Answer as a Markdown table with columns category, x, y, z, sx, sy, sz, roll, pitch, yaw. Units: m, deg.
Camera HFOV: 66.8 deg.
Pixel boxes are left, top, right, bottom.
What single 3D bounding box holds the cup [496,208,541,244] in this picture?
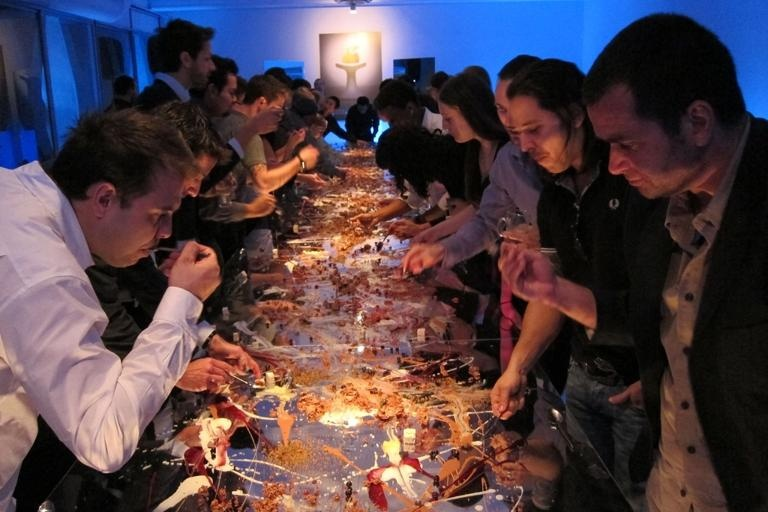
| category | x | y | z | sx | sy | sz | roll | pitch | yaw |
| --- | --- | --- | --- | --- | --- | --- | --- | --- | --- |
| cup | 0.499 | -0.111 | 2.187 | 0.111 | 0.104 | 0.138 | 1 | 3 | -41 |

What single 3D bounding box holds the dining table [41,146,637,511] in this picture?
| category | x | y | z | sx | sy | sz | roll | pitch | yaw |
| --- | --- | --- | --- | --- | --- | --- | --- | --- | --- |
| dining table | -0.134 | 0.285 | 2.148 | 1.263 | 0.315 | 1.299 | -1 | 23 | 2 |

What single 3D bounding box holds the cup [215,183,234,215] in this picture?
| category | x | y | z | sx | sy | sz | roll | pitch | yaw |
| --- | --- | --- | --- | --- | --- | --- | --- | --- | --- |
| cup | -0.933 | -0.349 | 3.406 | 0.121 | 0.136 | 0.126 | 3 | 13 | -1 |

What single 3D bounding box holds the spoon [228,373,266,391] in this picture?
| category | x | y | z | sx | sy | sz | roll | pitch | yaw |
| --- | --- | --- | --- | --- | --- | --- | --- | --- | --- |
| spoon | -0.509 | 0.474 | 2.198 | 0.096 | 0.023 | 0.058 | 9 | 18 | 21 |

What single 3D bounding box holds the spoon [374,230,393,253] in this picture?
| category | x | y | z | sx | sy | sz | roll | pitch | yaw |
| --- | --- | --- | --- | --- | --- | --- | --- | --- | --- |
| spoon | -0.001 | -0.094 | 3.821 | 0.073 | 0.040 | 0.266 | 11 | 21 | 4 |
